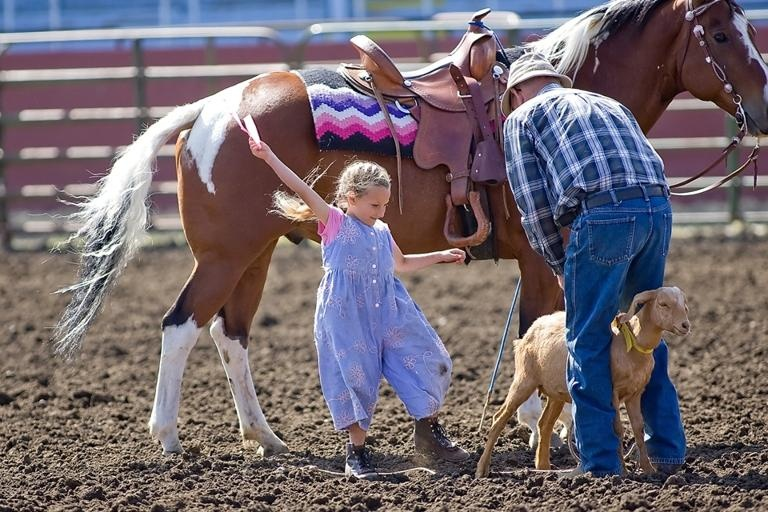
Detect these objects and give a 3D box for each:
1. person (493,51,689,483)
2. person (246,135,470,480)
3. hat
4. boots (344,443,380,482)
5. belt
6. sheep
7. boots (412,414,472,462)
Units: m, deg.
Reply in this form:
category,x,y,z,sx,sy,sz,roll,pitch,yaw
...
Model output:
category,x,y,z,sx,sy,sz,roll,pitch,yaw
person,1.629,0.034,10.506,1.255,3.183,0.920,-2,12,12
person,-0.099,0.418,10.758,1.364,2.620,0.703,-6,12,-6
hat,1.197,-1.355,10.678,0.420,0.253,0.464,-18,-21,-16
boots,-0.183,1.651,10.694,0.170,0.280,0.379,6,-4,-34
belt,1.778,-0.393,10.365,0.872,0.268,0.131,-6,12,0
sheep,1.651,1.021,10.593,0.625,1.486,1.944,-2,-2,-45
boots,0.463,1.468,10.977,0.454,0.377,0.180,6,21,26
